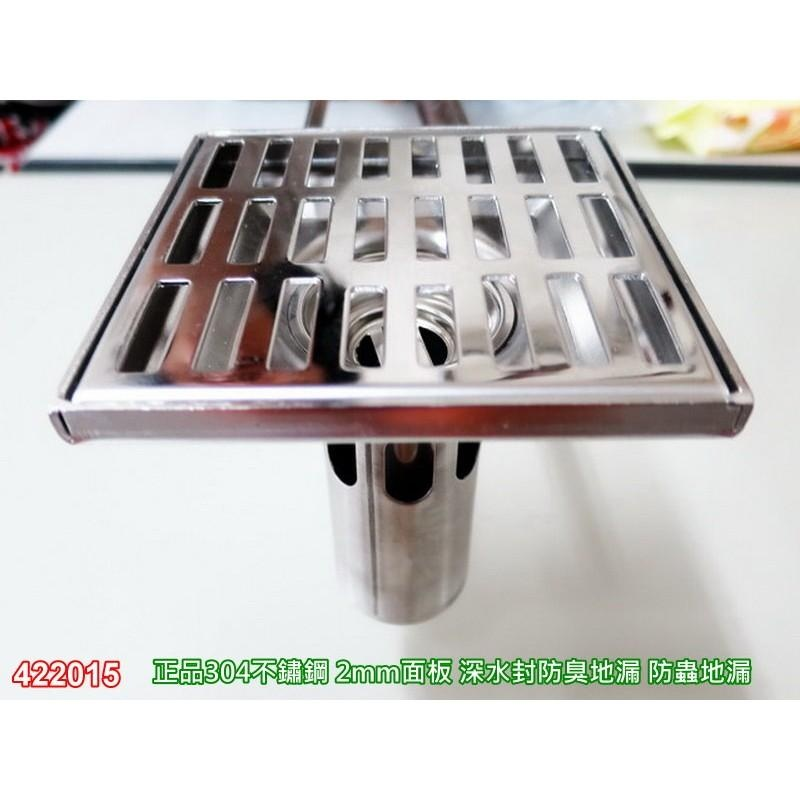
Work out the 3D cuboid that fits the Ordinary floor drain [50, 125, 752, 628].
[{"bbox_3d":[0.004,-0.012,0.710,0.433,0.367,0.379,0,41,0],"label":"Ordinary floor drain"}]
